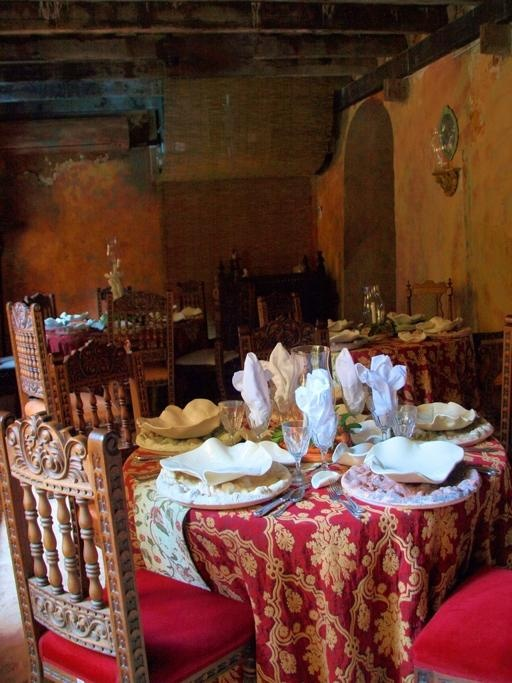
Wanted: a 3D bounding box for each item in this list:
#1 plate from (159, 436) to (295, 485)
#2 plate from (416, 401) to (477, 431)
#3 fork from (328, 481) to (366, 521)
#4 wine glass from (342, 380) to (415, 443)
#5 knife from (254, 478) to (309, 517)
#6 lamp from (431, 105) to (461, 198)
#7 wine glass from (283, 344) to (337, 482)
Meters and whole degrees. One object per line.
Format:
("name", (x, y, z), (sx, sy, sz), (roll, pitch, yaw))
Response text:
("plate", (-0.046, 0.254, 1.263), (0.247, 0.052, 0.251), (2, 3, 4))
("plate", (0.520, 0.209, 1.560), (0.118, 0.028, 0.112), (-5, 4, -30))
("fork", (0.176, 0.309, 1.094), (0.021, 0.009, 0.079), (-11, 16, -14))
("wine glass", (0.292, 0.178, 1.417), (0.184, 0.181, 0.125), (-7, 11, -9))
("knife", (0.055, 0.300, 1.129), (0.037, 0.015, 0.140), (0, 8, 20))
("lamp", (1.661, -1.706, 5.109), (0.154, 0.791, 0.506), (-3, 5, -1))
("wine glass", (0.131, 0.184, 1.310), (0.148, 0.339, 0.136), (-4, 4, 4))
